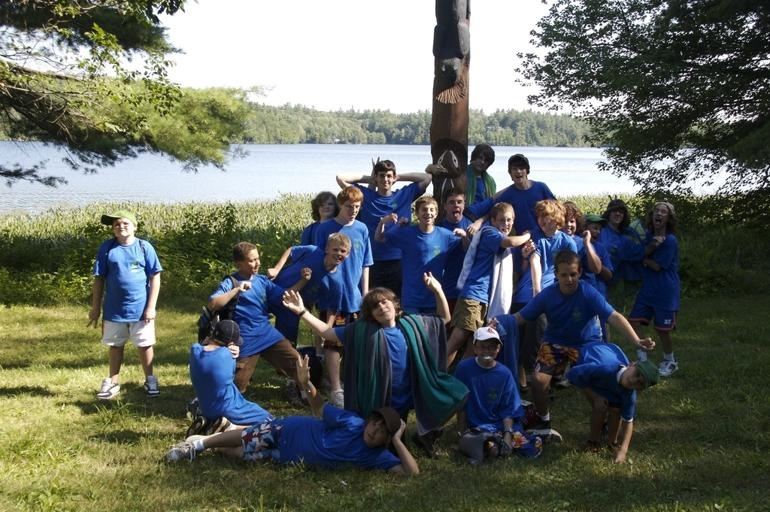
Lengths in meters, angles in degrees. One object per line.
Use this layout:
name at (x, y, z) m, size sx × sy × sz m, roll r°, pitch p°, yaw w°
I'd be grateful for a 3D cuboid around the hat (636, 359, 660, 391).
hat at (3.345, 1.449, 10.536) m, size 0.196 × 0.282 × 0.363 m, roll -8°, pitch 10°, yaw 13°

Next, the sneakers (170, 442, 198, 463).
sneakers at (-2.568, 2.524, 10.547) m, size 0.427 × 0.173 × 0.183 m, roll -2°, pitch -13°, yaw -4°

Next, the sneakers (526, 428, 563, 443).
sneakers at (2.146, 2.392, 11.017) m, size 0.515 × 0.179 × 0.153 m, roll 0°, pitch 6°, yaw -21°

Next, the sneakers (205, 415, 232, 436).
sneakers at (-2.166, 2.200, 10.779) m, size 0.402 × 0.182 × 0.137 m, roll -33°, pitch 24°, yaw -6°

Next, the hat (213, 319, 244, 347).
hat at (-2.033, 0.991, 10.852) m, size 0.249 × 0.209 × 0.360 m, roll 25°, pitch 19°, yaw 21°

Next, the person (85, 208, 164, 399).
person at (-3.763, 0.704, 11.987) m, size 0.954 × 2.687 × 0.493 m, roll 0°, pitch 6°, yaw -18°

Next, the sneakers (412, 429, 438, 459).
sneakers at (0.547, 2.483, 10.873) m, size 0.194 × 0.507 × 0.178 m, roll -24°, pitch -2°, yaw 9°
